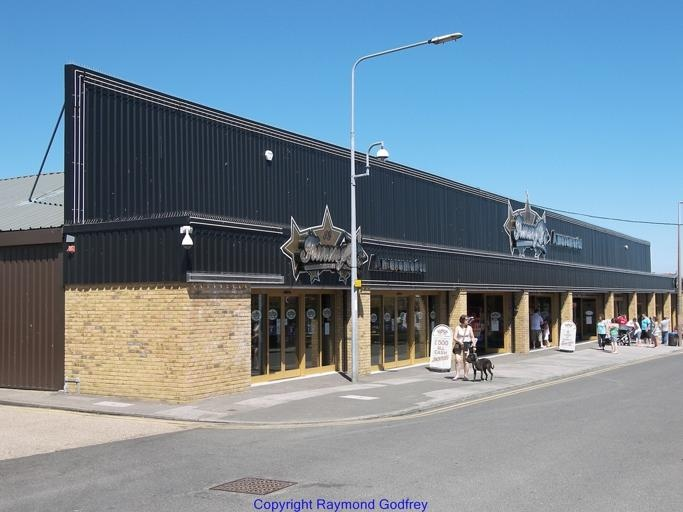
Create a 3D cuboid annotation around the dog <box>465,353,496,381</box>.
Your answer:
[{"bbox_3d":[4.916,3.869,25.207,0.843,0.954,1.519,-2,-7,12],"label":"dog"}]

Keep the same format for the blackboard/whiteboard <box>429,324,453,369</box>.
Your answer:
[{"bbox_3d":[3.893,3.570,27.846,0.818,1.920,0.125,4,15,4],"label":"blackboard/whiteboard"}]

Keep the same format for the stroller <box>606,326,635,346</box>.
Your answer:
[{"bbox_3d":[17.009,4.876,43.746,1.606,1.245,0.973,-2,-6,42],"label":"stroller"}]

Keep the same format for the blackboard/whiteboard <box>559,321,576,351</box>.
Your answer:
[{"bbox_3d":[11.872,4.238,37.524,0.774,1.549,1.017,-2,-6,16],"label":"blackboard/whiteboard"}]

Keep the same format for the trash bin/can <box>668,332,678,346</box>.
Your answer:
[{"bbox_3d":[21.055,5.284,45.269,0.369,0.750,0.717,1,-1,1],"label":"trash bin/can"}]
